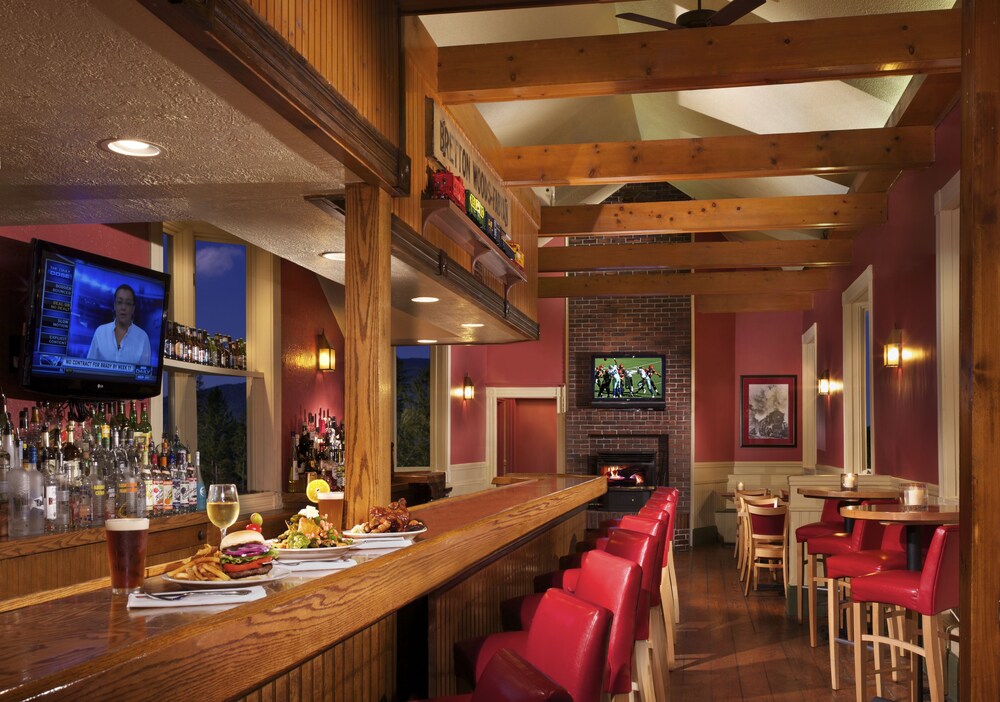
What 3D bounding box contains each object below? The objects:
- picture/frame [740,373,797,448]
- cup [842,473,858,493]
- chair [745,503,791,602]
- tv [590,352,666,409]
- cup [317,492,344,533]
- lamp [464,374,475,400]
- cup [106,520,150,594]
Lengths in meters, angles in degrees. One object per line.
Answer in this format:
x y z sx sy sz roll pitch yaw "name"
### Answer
4.732 1.024 13.478 1.032 1.304 0.072 8 0 6 "picture/frame"
3.499 1.304 7.643 0.164 0.186 0.164 0 -7 0 "cup"
2.882 2.106 8.261 0.512 0.963 0.662 8 -1 19 "chair"
1.955 0.416 11.618 1.131 0.847 0.112 8 0 2 "tv"
-0.645 0.624 3.022 0.119 0.146 0.124 8 -1 0 "cup"
-0.483 0.548 11.899 0.127 0.375 0.397 0 -5 5 "lamp"
-1.034 0.559 2.109 0.106 0.217 0.169 8 -1 -22 "cup"
